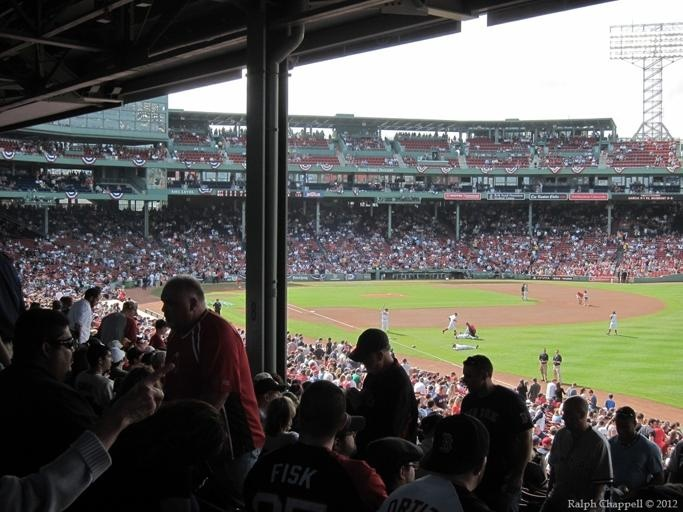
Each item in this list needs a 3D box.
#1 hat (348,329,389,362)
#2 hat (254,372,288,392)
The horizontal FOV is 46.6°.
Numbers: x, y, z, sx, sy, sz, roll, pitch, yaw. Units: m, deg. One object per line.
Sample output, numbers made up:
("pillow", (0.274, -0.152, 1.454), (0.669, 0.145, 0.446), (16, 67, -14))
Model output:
("hat", (0.292, 0.966, 8.825), (0.433, 0.226, 0.305), (-16, 14, -20))
("hat", (-0.812, 1.459, 9.039), (0.384, 0.124, 0.260), (2, 0, -5))
